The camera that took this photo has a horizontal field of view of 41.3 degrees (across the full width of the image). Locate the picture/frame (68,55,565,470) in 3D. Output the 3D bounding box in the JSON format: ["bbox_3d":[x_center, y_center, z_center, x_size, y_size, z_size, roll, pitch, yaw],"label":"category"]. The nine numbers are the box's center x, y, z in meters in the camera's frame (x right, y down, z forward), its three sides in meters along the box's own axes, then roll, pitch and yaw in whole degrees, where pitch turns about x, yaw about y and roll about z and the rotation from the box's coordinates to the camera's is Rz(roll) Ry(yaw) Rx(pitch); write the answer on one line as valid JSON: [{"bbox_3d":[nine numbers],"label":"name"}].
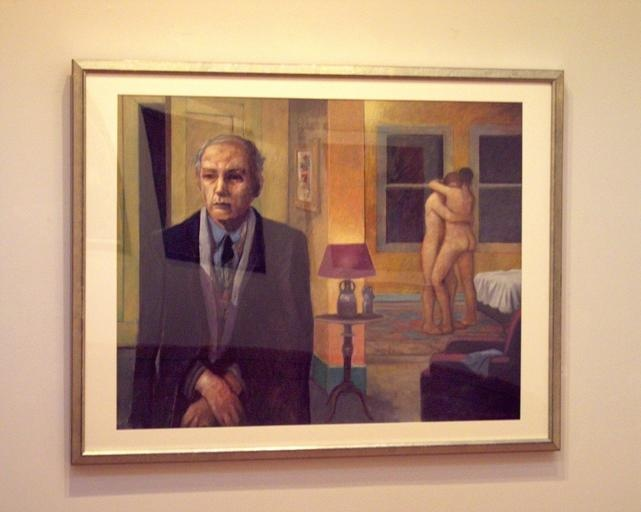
[{"bbox_3d":[-0.081,0.003,2.602,1.028,1.026,0.043,0,1,-5],"label":"picture/frame"}]

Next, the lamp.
[{"bbox_3d":[0.083,0.058,2.605,0.174,0.268,0.196,0,5,9],"label":"lamp"}]

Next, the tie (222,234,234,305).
[{"bbox_3d":[-0.287,0.037,2.628,0.045,0.245,0.018,6,33,-2],"label":"tie"}]
